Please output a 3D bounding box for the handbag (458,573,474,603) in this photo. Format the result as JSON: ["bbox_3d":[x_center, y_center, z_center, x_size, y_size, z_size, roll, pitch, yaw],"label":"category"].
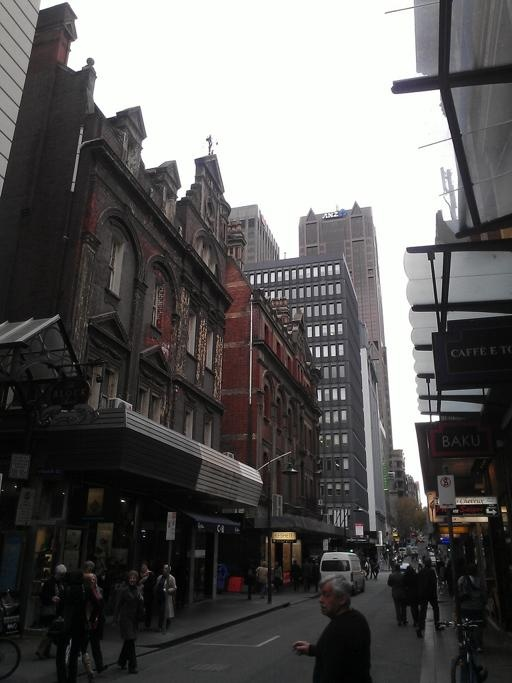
[{"bbox_3d":[3.536,4.201,7.981,0.369,0.340,0.558,-11,-18,17],"label":"handbag"}]
